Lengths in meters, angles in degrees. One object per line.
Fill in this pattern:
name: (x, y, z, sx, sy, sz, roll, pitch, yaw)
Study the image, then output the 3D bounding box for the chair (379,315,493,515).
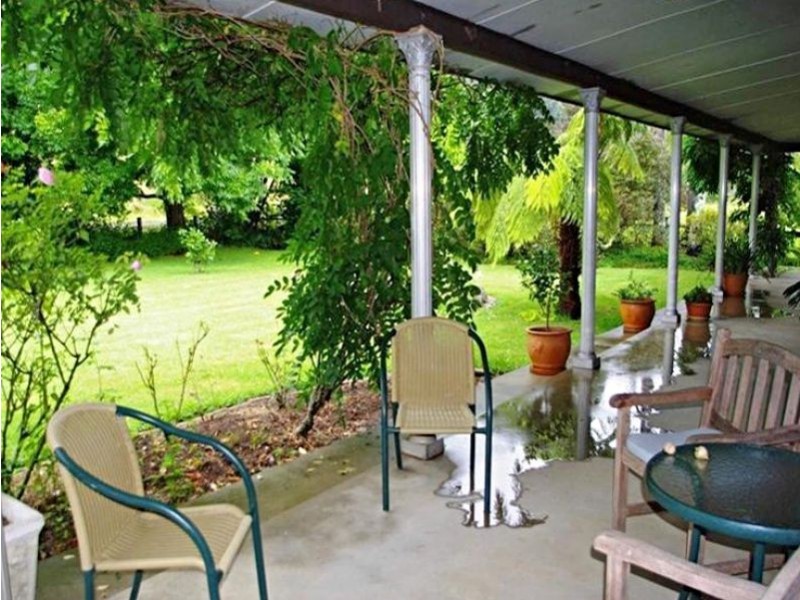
chair: (0.245, 0.713, 4.142, 0.749, 1.188, 1.115, -1, 6, 2)
